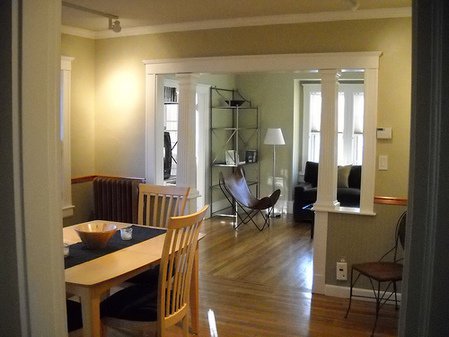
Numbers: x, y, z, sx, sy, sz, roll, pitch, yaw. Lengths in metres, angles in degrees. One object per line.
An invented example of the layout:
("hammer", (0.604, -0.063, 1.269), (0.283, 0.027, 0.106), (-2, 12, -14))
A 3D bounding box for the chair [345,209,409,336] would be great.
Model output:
("chair", (1.429, 0.920, 3.650), (0.477, 0.982, 0.808), (4, 8, 25))

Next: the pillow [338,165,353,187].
("pillow", (2.098, 0.148, 6.682), (0.300, 0.373, 0.137), (4, -20, 41))

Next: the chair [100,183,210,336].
("chair", (-0.551, 0.754, 4.101), (1.013, 1.883, 1.117), (0, -1, 32))

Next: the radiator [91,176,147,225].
("radiator", (-1.274, 0.384, 4.738), (0.535, 0.726, 0.117), (3, 3, 19))

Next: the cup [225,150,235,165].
("cup", (0.113, -0.186, 6.831), (0.160, 0.254, 0.181), (1, 7, -3))

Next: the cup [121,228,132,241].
("cup", (-0.795, 0.529, 3.131), (0.087, 0.068, 0.070), (1, 2, 28))

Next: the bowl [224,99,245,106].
("bowl", (0.174, -1.203, 7.028), (0.214, 0.068, 0.194), (-1, 1, 10))

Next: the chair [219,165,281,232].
("chair", (0.449, 0.497, 6.299), (0.865, 0.935, 0.783), (5, 10, 28))

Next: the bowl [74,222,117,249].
("bowl", (-0.975, 0.515, 2.933), (0.309, 0.143, 0.320), (3, 4, 0))

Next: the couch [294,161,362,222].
("couch", (1.908, 0.422, 6.618), (1.248, 1.081, 0.748), (1, -1, 26))
